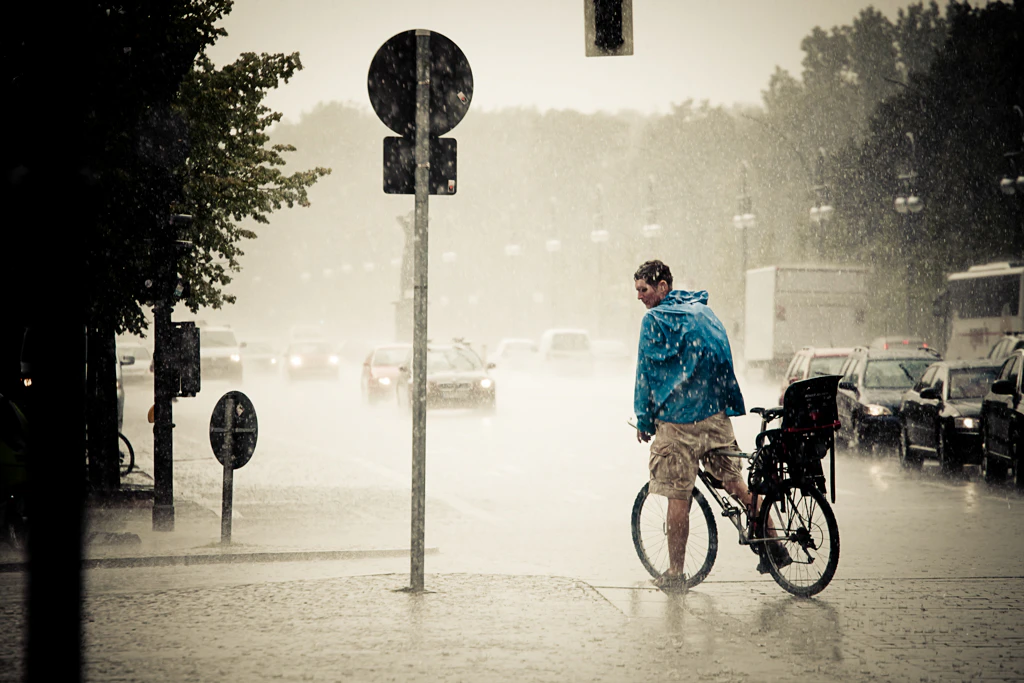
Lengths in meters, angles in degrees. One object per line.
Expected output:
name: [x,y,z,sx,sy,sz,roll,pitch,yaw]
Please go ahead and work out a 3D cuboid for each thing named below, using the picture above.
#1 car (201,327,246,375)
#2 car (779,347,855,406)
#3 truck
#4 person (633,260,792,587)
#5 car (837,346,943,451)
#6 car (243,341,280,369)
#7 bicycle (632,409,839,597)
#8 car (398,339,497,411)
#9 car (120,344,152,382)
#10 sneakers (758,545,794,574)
car: [-8.512,0.368,43.067,1.575,1.507,2.783,-1,-6,-12]
car: [4.422,0.493,20.635,0.939,0.869,1.650,0,-6,-8]
truck: [8.133,-0.816,40.223,2.747,3.216,4.875,-1,1,-2]
person: [1.583,0.748,12.829,0.940,2.925,0.379,-1,-1,9]
car: [6.077,0.887,23.222,1.346,1.173,2.389,0,-3,-4]
car: [-9.057,0.583,52.154,1.157,1.136,1.875,0,-1,-11]
bicycle: [2.121,1.545,13.407,2.254,1.446,1.126,3,3,42]
car: [-1.207,0.825,31.059,1.160,0.967,2.053,0,-6,-10]
car: [-10.631,0.683,40.942,0.905,0.802,1.527,2,-7,-23]
sneakers: [2.304,1.912,12.601,0.289,0.303,0.183,-6,-2,17]
